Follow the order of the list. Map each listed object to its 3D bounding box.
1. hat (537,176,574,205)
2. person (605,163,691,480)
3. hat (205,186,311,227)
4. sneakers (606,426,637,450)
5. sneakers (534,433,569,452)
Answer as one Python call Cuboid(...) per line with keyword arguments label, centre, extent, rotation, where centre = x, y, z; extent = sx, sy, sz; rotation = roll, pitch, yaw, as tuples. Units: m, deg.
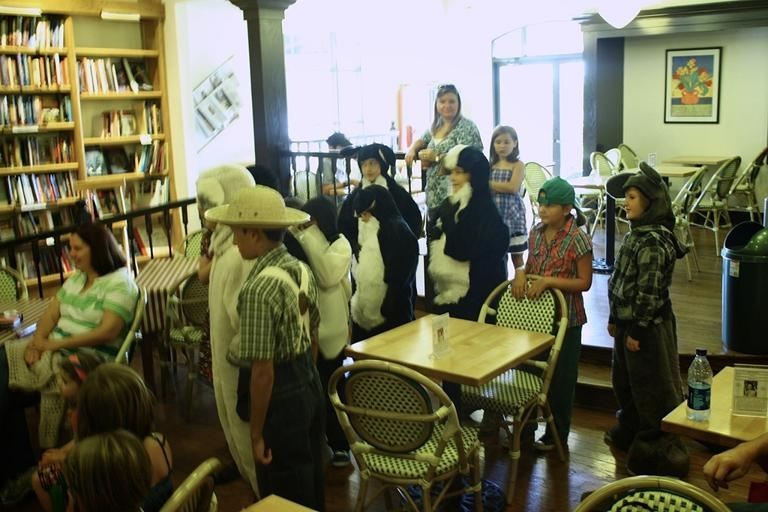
Cuboid(label="hat", centre=(1.188, -0.441, 4.036), extent=(0.163, 0.151, 0.236), rotation=(9, 19, 29))
Cuboid(label="person", centre=(1.745, 0.422, 3.841), extent=(0.547, 2.016, 0.472), rotation=(3, 12, 20))
Cuboid(label="hat", centre=(-0.598, -0.226, 2.989), extent=(0.328, 0.106, 0.336), rotation=(9, 11, 41))
Cuboid(label="sneakers", centre=(1.669, 1.267, 4.169), extent=(0.166, 0.126, 0.133), rotation=(5, 15, 25))
Cuboid(label="sneakers", centre=(1.140, 1.314, 4.148), extent=(0.279, 0.112, 0.121), rotation=(2, 5, 5))
